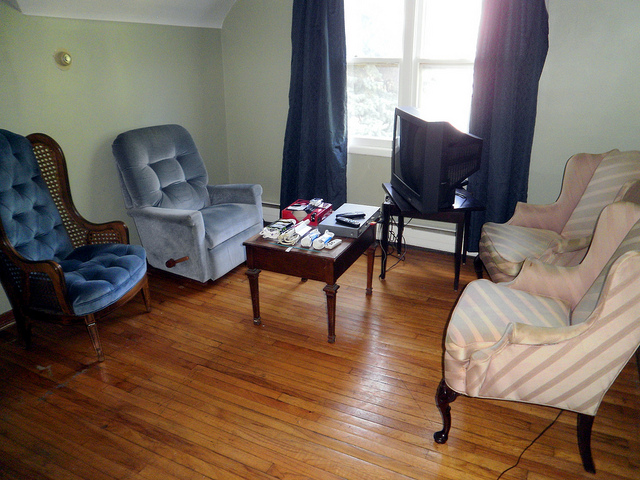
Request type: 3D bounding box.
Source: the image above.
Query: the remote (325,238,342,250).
[{"bbox_3d":[0.090,0.020,3.456,0.046,0.031,0.153,24,32,30],"label":"remote"}]

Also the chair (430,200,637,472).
[{"bbox_3d":[1.280,0.595,2.917,0.900,1.174,0.930,11,43,27],"label":"chair"}]

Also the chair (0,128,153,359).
[{"bbox_3d":[-1.791,-0.011,3.501,0.929,1.452,0.791,7,25,20],"label":"chair"}]

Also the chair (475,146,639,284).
[{"bbox_3d":[1.734,-0.249,3.780,1.076,1.177,0.848,-2,37,5],"label":"chair"}]

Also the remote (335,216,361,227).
[{"bbox_3d":[0.193,-0.140,3.651,0.141,0.037,0.076,23,26,20],"label":"remote"}]

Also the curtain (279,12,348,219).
[{"bbox_3d":[-0.065,-1.185,4.752,0.682,1.825,0.336,9,26,25],"label":"curtain"}]

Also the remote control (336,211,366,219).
[{"bbox_3d":[0.234,-0.193,3.751,0.150,0.036,0.083,-2,15,2],"label":"remote control"}]
